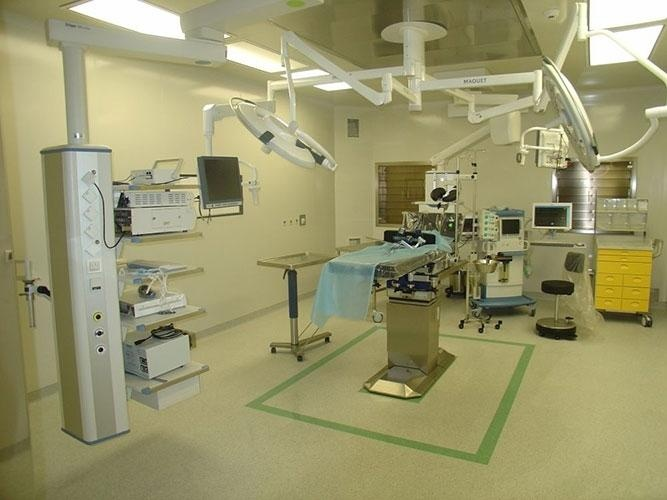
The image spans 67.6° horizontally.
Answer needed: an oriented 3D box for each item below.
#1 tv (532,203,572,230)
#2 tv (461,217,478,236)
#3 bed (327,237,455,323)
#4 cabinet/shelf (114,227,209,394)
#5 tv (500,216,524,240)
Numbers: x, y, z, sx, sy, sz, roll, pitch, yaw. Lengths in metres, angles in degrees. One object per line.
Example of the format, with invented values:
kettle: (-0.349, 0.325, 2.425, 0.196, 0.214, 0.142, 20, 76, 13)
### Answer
tv: (2.885, -0.440, 6.590, 0.458, 0.329, 0.411, 3, 13, 20)
tv: (1.738, -0.294, 6.373, 0.266, 0.255, 0.142, 1, 4, 21)
bed: (0.383, 0.318, 4.466, 0.679, 0.582, 1.124, 7, 15, 34)
cabinet/shelf: (-1.359, 0.396, 3.957, 0.637, 1.152, 1.182, -7, 14, -23)
tv: (2.341, -0.280, 6.534, 0.358, 0.311, 0.072, -5, 13, -17)
